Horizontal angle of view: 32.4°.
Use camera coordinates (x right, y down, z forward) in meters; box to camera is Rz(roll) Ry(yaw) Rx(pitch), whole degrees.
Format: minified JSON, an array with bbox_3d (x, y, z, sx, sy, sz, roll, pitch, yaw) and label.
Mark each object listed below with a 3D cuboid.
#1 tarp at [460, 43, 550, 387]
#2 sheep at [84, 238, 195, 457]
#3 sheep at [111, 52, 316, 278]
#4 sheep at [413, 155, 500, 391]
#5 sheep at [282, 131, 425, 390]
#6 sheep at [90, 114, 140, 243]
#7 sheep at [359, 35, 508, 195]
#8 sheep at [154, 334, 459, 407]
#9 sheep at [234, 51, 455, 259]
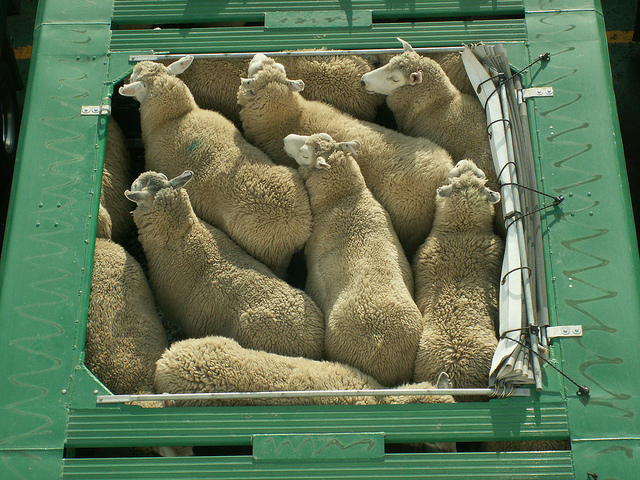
[{"bbox_3d":[1.923,-0.385,11.083,0.736,0.562,3.221,1,72,-26],"label":"tarp"},{"bbox_3d":[-1.942,0.790,10.901,0.784,0.522,1.481,-2,48,-7],"label":"sheep"},{"bbox_3d":[-1.065,-0.697,11.344,0.789,1.149,2.084,-42,77,-10],"label":"sheep"},{"bbox_3d":[1.418,0.331,11.086,0.737,1.254,2.257,2,76,14],"label":"sheep"},{"bbox_3d":[0.321,0.144,11.254,1.020,1.427,2.727,-15,68,1],"label":"sheep"},{"bbox_3d":[-2.203,-0.630,11.677,0.533,0.696,1.283,0,86,-12],"label":"sheep"},{"bbox_3d":[1.220,-1.250,11.583,1.470,0.994,0.591,34,68,10],"label":"sheep"},{"bbox_3d":[-0.342,1.316,10.547,2.522,0.475,0.576,2,48,-3],"label":"sheep"},{"bbox_3d":[0.251,-0.791,11.362,2.091,1.093,0.799,35,79,7],"label":"sheep"}]
